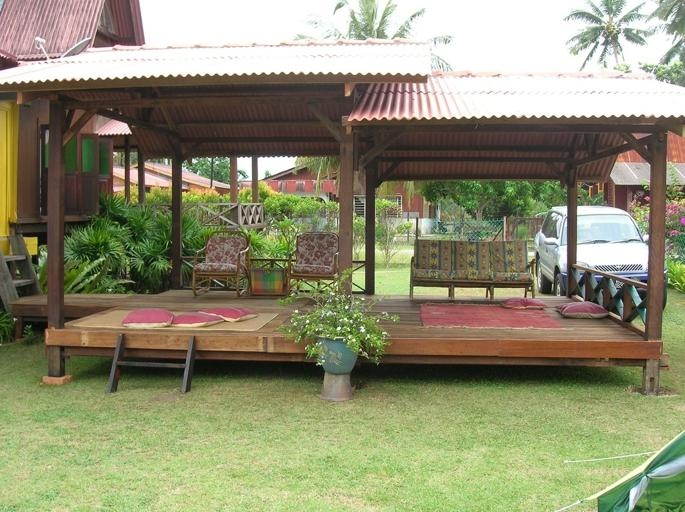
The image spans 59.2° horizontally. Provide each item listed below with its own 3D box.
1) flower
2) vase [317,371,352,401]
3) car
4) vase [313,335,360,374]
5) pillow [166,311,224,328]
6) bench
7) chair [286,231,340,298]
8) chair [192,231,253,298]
[{"bbox_3d":[-0.039,0.785,7.428,1.355,0.840,1.354,4,32,-1],"label":"flower"},{"bbox_3d":[-0.079,1.483,6.998,0.310,0.315,0.332,3,-2,-33],"label":"vase"},{"bbox_3d":[5.176,-0.037,12.506,1.851,1.919,4.138,-1,6,10],"label":"car"},{"bbox_3d":[-0.044,1.135,7.069,0.590,0.449,0.614,-1,-1,-25],"label":"vase"},{"bbox_3d":[-1.878,0.841,7.850,0.641,0.130,0.362,-2,10,-9],"label":"pillow"},{"bbox_3d":[2.210,0.234,10.326,2.097,0.979,0.972,2,5,8],"label":"bench"},{"bbox_3d":[-0.486,0.118,10.749,0.992,1.059,0.924,5,7,26],"label":"chair"},{"bbox_3d":[-2.111,0.075,10.683,0.881,1.112,0.956,1,2,9],"label":"chair"}]
